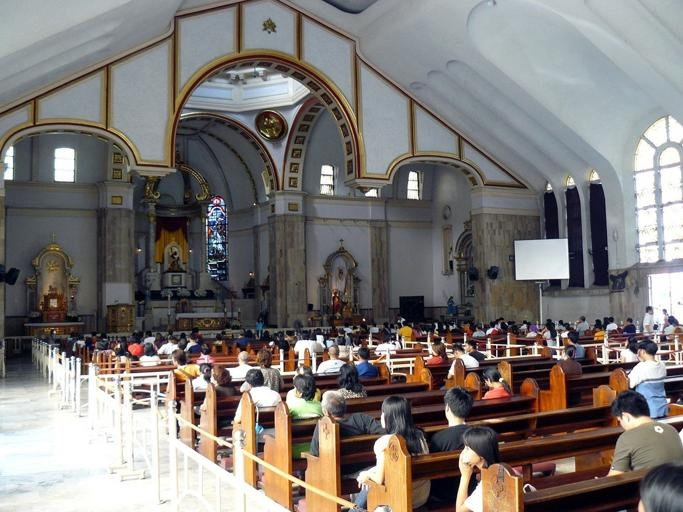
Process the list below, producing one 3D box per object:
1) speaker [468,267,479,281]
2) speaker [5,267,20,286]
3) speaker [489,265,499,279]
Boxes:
[{"bbox_3d":[4.280,0.543,23.598,0.247,0.461,0.441,-3,-14,17],"label":"speaker"},{"bbox_3d":[-8.724,0.481,19.119,0.307,0.377,0.604,6,9,-14],"label":"speaker"},{"bbox_3d":[4.879,0.464,23.135,0.349,0.519,0.350,1,0,-12],"label":"speaker"}]
